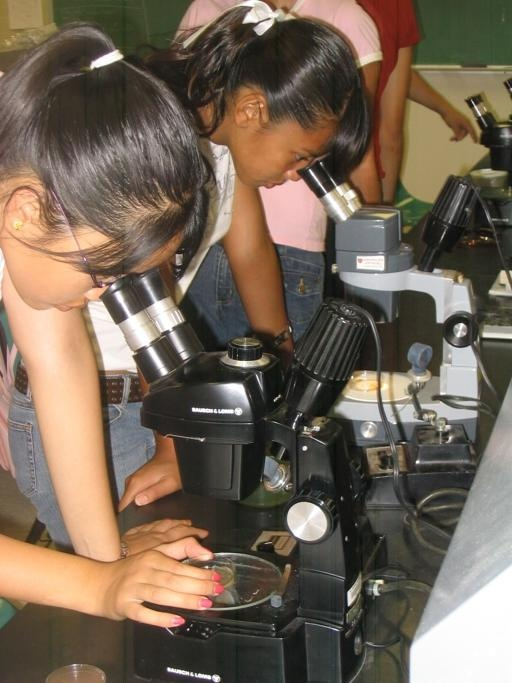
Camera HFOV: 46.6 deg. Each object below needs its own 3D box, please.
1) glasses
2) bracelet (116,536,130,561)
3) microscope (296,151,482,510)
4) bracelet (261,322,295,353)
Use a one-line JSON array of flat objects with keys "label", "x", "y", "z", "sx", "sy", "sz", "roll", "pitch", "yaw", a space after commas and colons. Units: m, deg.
[{"label": "glasses", "x": -0.146, "y": -0.081, "z": 0.497, "sx": 0.019, "sy": 0.060, "sz": 0.061, "roll": -13, "pitch": 7, "yaw": 21}, {"label": "bracelet", "x": -0.163, "y": 0.257, "z": 0.739, "sx": 0.011, "sy": 0.028, "sz": 0.021, "roll": 1, "pitch": 5, "yaw": 6}, {"label": "microscope", "x": 0.210, "y": -0.019, "z": 0.946, "sx": 0.294, "sy": 0.456, "sz": 0.267, "roll": 0, "pitch": -1, "yaw": 21}, {"label": "bracelet", "x": 0.043, "y": -0.006, "z": 1.185, "sx": 0.036, "sy": 0.046, "sz": 0.064, "roll": 25, "pitch": -7, "yaw": -4}]
